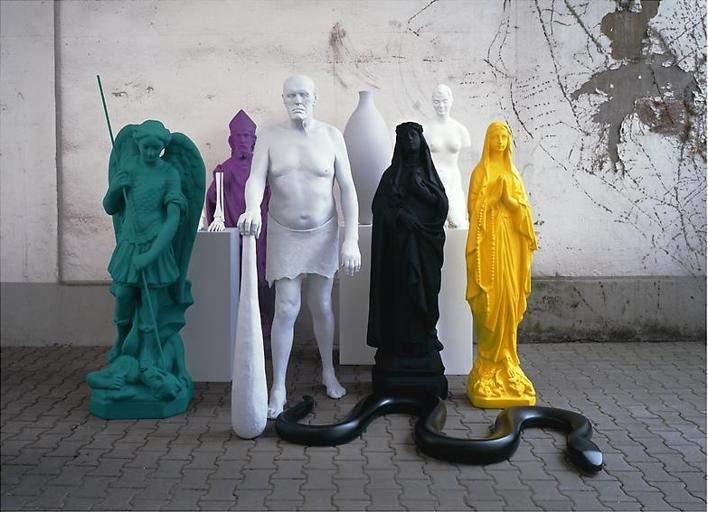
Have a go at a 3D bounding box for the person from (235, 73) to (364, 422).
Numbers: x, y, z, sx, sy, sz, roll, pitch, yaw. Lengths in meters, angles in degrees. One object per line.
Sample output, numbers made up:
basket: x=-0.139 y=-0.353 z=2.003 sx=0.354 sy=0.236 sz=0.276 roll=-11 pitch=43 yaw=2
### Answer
person: x=-0.478 y=-0.108 z=9.083 sx=1.088 sy=3.108 sz=0.706 roll=-5 pitch=10 yaw=-8

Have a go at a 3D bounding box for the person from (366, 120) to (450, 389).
person: x=0.496 y=0.069 z=9.266 sx=0.808 sy=2.624 sz=0.539 roll=-2 pitch=10 yaw=4

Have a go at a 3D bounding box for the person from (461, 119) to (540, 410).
person: x=1.367 y=0.096 z=9.197 sx=0.674 sy=2.669 sz=0.668 roll=-1 pitch=11 yaw=9

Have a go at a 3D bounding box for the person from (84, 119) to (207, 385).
person: x=-1.866 y=-0.107 z=9.094 sx=0.856 sy=2.287 sz=0.607 roll=0 pitch=11 yaw=15
